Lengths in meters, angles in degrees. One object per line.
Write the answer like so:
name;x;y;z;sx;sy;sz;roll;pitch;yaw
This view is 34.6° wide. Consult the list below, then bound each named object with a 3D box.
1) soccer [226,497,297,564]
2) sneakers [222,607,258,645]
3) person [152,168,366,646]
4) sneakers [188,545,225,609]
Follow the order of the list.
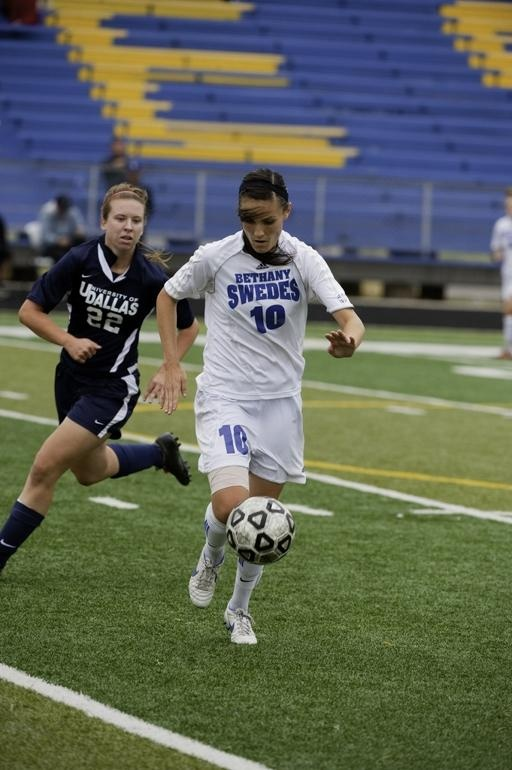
soccer;0.006;0.441;2.417;0.172;0.217;0.176;-4;8;-24
sneakers;-0.054;0.860;2.927;0.063;0.062;0.145;1;7;-22
person;0.010;0.097;2.840;0.577;1.647;0.891;-4;8;-17
sneakers;-0.201;0.748;3.171;0.109;0.271;0.132;12;-8;-12
